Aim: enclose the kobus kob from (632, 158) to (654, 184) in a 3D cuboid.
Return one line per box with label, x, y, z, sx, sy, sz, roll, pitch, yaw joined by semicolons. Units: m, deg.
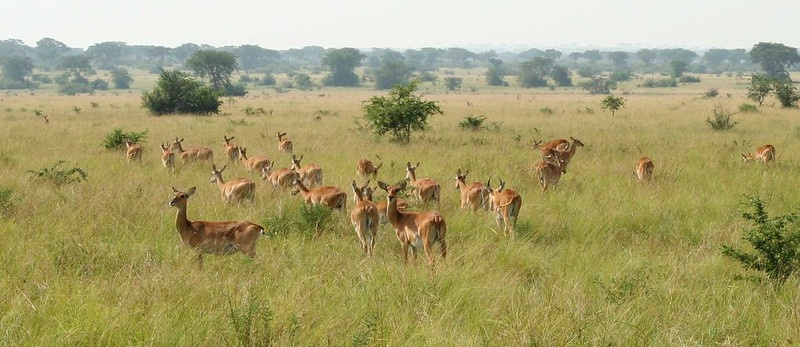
kobus kob;19.397;-0.304;56.049;1.264;1.931;0.993;1;13;13
